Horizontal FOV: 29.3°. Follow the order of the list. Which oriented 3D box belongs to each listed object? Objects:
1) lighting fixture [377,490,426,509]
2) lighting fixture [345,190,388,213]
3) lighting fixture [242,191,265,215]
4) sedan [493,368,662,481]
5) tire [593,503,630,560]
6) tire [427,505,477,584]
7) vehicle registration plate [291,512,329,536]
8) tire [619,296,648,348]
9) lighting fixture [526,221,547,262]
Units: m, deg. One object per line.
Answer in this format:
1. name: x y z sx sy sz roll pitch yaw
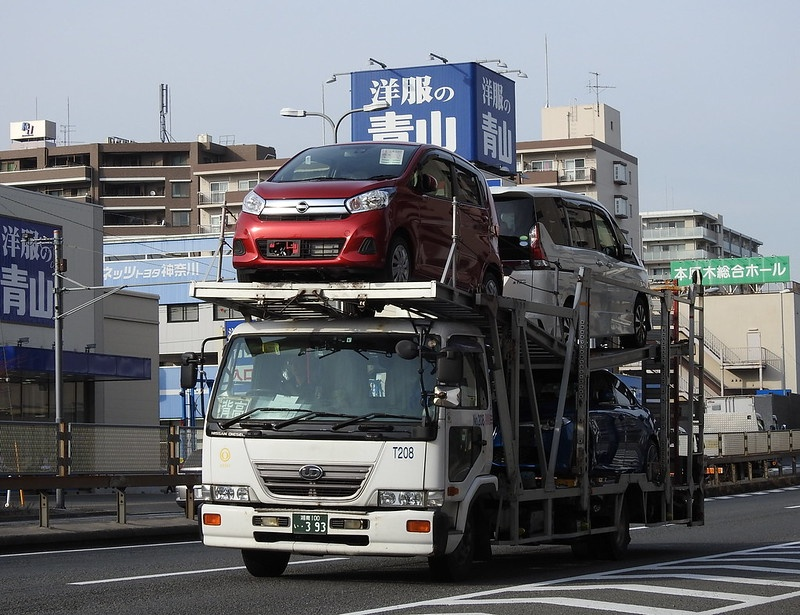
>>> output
1. lighting fixture: 0.010 2.420 19.134 0.566 0.220 0.059 -1 -4 4
2. lighting fixture: -0.400 -1.403 19.887 0.419 0.179 0.327 -19 9 -41
3. lighting fixture: -1.900 -1.401 20.092 0.248 0.150 0.344 9 25 15
4. sedan: 2.710 1.888 23.135 1.334 1.275 2.960 -5 -11 34
5. tire: 3.103 3.365 22.745 0.307 0.883 0.878 1 6 37
6. tire: 0.646 3.025 19.575 0.338 1.059 1.055 2 -4 31
7. vehicle registration plate: -1.133 2.737 19.214 0.455 0.238 0.068 -2 -4 19
8. tire: 3.692 0.241 24.367 0.234 0.726 0.723 -2 8 33
9. lighting fixture: 2.104 -1.021 23.556 0.219 0.769 0.282 -15 -20 -3
